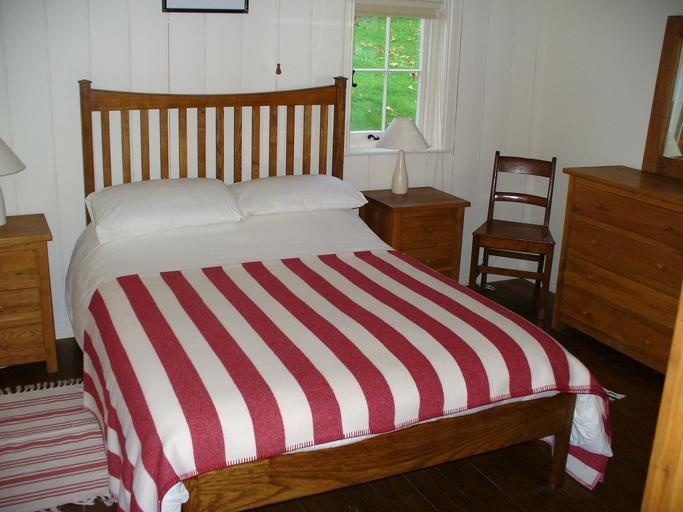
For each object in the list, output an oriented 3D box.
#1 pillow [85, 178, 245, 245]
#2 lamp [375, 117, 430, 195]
[{"bbox_3d":[-1.086,-0.294,3.188,0.866,0.305,0.404,-6,18,-24],"label":"pillow"},{"bbox_3d":[0.457,-0.758,3.966,0.429,0.562,0.440,-19,31,-38],"label":"lamp"}]
